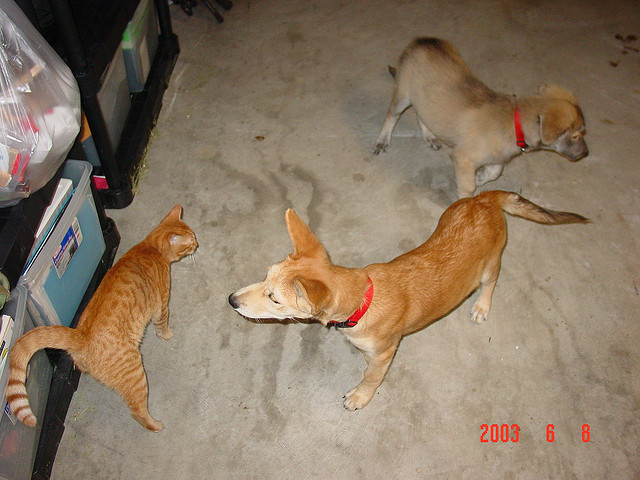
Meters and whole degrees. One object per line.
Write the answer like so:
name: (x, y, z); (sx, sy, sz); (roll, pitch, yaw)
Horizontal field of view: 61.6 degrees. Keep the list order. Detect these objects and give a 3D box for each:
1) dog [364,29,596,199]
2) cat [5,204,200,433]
dog: (1.809, -1.435, 5.884); (2.363, 1.242, 2.016); (14, 63, 3)
cat: (-1.808, 0.573, 4.327); (0.777, 1.055, 1.935); (19, 67, 15)
